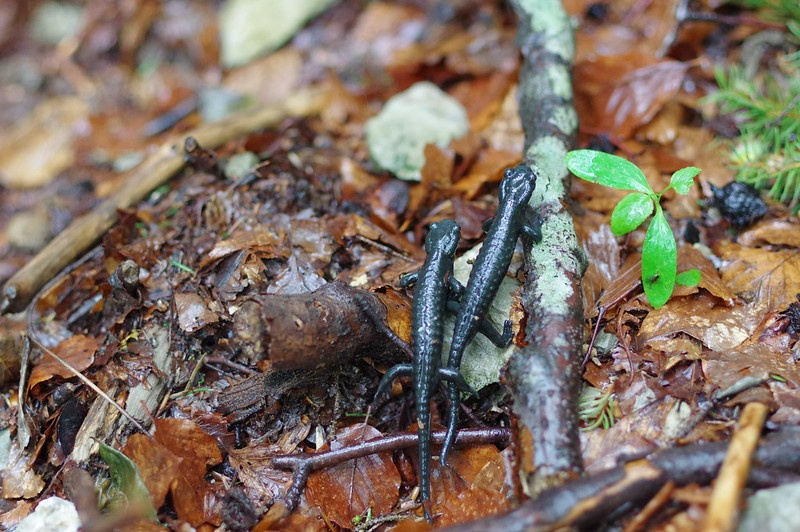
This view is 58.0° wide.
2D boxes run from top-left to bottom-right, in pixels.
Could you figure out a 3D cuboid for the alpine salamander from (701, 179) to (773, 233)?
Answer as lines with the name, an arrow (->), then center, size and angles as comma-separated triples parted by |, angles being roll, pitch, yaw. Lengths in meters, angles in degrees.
alpine salamander -> 2.832, -0.510, 6.035 | 0.476, 0.315, 0.279 | 30, 59, 22
